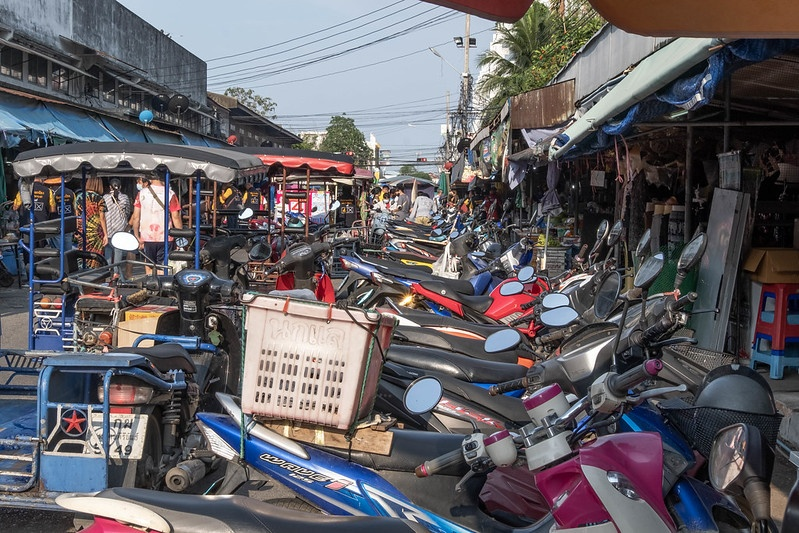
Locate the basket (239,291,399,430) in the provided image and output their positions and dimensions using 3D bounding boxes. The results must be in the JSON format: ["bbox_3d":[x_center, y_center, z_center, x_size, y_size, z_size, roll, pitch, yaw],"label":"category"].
[{"bbox_3d":[-0.564,0.600,4.166,0.871,0.730,0.617,8,-11,1],"label":"basket"}]

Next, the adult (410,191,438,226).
[{"bbox_3d":[0.907,-2.097,24.521,0.736,1.041,0.380,8,-33,4],"label":"adult"}]
